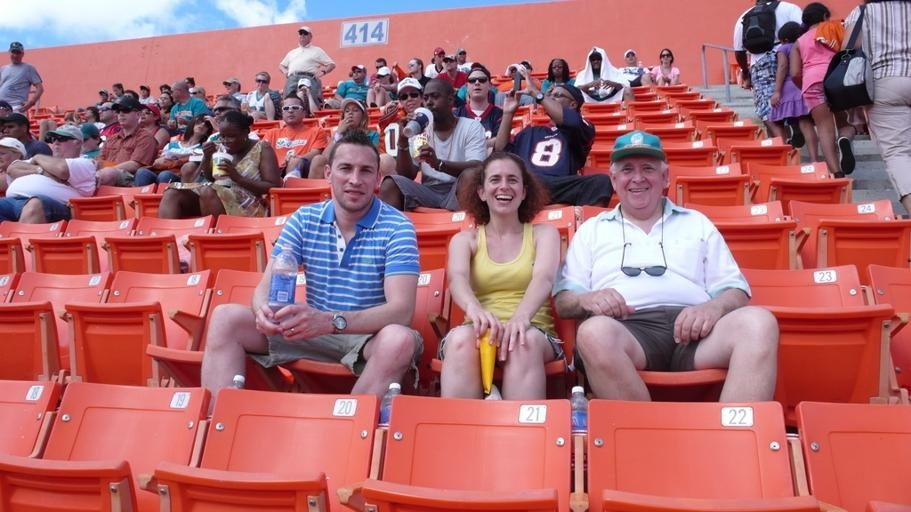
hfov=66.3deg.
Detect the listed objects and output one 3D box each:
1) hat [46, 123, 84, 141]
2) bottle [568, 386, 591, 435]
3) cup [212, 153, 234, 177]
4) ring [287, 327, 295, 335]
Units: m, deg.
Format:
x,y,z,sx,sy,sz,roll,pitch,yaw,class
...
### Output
x,y,z,sx,sy,sz,roll,pitch,yaw,class
-5.120,-1.620,9.176,0.280,0.149,0.414,1,7,-10,hat
0.794,0.981,4.506,0.095,0.249,0.321,-3,-4,8,bottle
-2.426,-0.949,7.317,0.251,0.222,0.241,1,-15,0,cup
-1.117,0.513,4.729,0.034,0.043,0.015,4,-1,-6,ring
